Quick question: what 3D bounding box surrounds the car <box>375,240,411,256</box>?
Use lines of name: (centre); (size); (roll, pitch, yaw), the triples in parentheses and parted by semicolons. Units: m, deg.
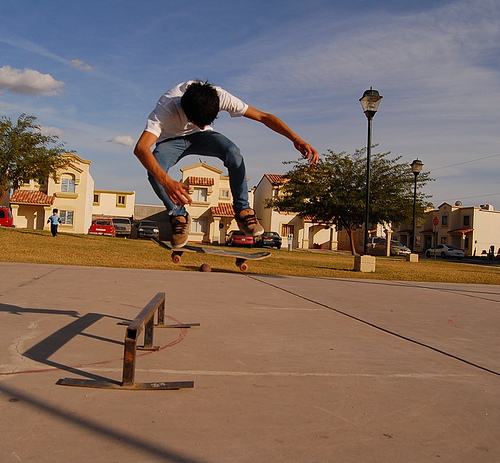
car: (11.946, 1.439, 38.343); (1.900, 1.301, 4.097); (1, -3, -35)

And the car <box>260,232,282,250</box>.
car: (1.746, 0.711, 35.970); (1.263, 0.987, 2.591); (0, 4, -9)

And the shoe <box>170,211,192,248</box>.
shoe: (-0.774, -0.009, 5.046); (0.157, 0.446, 0.190); (-2, -6, 7)

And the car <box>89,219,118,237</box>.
car: (-10.832, -0.269, 33.243); (1.069, 0.862, 1.846); (2, 6, -9)

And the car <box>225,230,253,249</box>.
car: (-0.534, 0.360, 21.316); (0.983, 0.728, 2.260); (1, 4, -12)

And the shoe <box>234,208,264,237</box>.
shoe: (-0.021, -0.144, 5.015); (0.168, 0.192, 0.496); (-27, 31, -14)

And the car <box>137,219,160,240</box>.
car: (-8.077, -0.116, 35.624); (1.744, 1.421, 3.143); (1, -7, -16)
